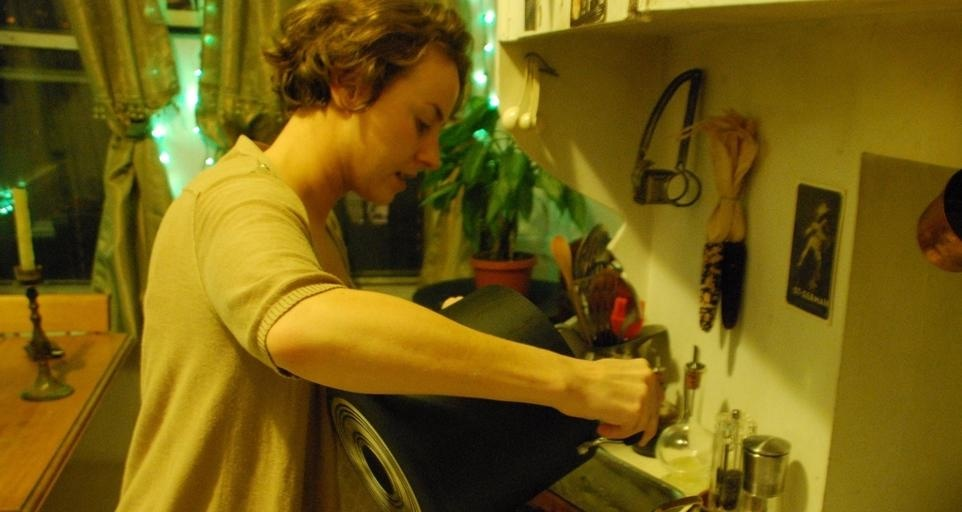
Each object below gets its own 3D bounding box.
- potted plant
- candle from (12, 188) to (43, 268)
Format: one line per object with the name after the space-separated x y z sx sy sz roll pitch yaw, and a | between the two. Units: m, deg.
0.022 -0.234 2.680 0.693 0.623 0.722 7 14 33 | potted plant
-1.407 -0.089 2.209 0.075 0.252 0.068 -4 4 -4 | candle
